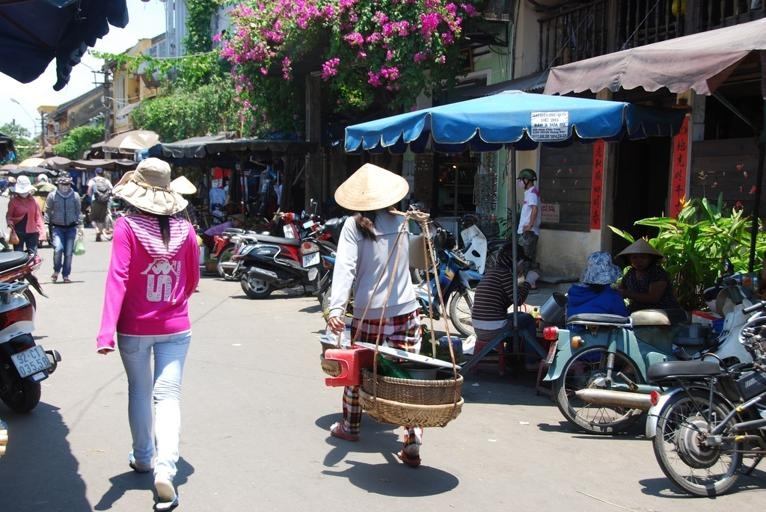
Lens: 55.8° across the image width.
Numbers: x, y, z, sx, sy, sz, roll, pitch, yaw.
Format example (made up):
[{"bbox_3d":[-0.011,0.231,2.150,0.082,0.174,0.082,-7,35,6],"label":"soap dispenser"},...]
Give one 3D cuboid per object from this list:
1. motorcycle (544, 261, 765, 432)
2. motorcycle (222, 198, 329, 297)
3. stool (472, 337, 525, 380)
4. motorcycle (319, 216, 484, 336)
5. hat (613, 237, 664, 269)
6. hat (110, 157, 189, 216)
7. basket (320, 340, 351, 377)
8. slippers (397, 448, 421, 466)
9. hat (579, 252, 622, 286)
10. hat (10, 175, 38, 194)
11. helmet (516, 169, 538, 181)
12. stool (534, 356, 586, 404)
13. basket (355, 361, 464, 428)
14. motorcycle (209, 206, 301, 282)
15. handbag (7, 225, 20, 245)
[{"bbox_3d":[2.993,0.907,7.520,2.793,1.876,1.208,1,3,-12],"label":"motorcycle"},{"bbox_3d":[-1.770,-0.105,13.638,2.439,1.810,1.210,-2,-1,-30],"label":"motorcycle"},{"bbox_3d":[1.450,1.255,8.828,0.506,0.530,0.532,4,10,23],"label":"stool"},{"bbox_3d":[0.496,0.318,10.804,2.310,1.632,0.916,2,-4,11],"label":"motorcycle"},{"bbox_3d":[3.353,-0.027,9.474,0.495,0.245,0.513,6,-8,-19],"label":"hat"},{"bbox_3d":[-1.911,-0.536,5.976,0.507,0.281,0.514,30,27,26],"label":"hat"},{"bbox_3d":[-0.455,0.818,6.267,0.267,0.377,0.388,0,2,7],"label":"basket"},{"bbox_3d":[0.235,1.810,6.529,0.094,0.110,0.248,4,8,-27],"label":"slippers"},{"bbox_3d":[2.327,0.102,7.794,0.496,0.261,0.426,-21,23,-33],"label":"hat"},{"bbox_3d":[-6.488,-1.274,13.092,0.353,0.244,0.404,0,17,-7],"label":"hat"},{"bbox_3d":[2.667,-1.485,13.390,0.382,0.248,0.300,8,2,13],"label":"helmet"},{"bbox_3d":[1.906,1.335,8.066,0.440,0.403,0.440,-5,7,-38],"label":"stool"},{"bbox_3d":[0.263,1.137,5.939,0.560,0.267,0.534,1,-4,16],"label":"basket"},{"bbox_3d":[-2.793,-0.318,14.761,2.284,1.670,1.163,-2,-10,3],"label":"motorcycle"},{"bbox_3d":[-6.046,-0.346,11.839,0.160,0.389,0.379,-3,-6,-19],"label":"handbag"}]
